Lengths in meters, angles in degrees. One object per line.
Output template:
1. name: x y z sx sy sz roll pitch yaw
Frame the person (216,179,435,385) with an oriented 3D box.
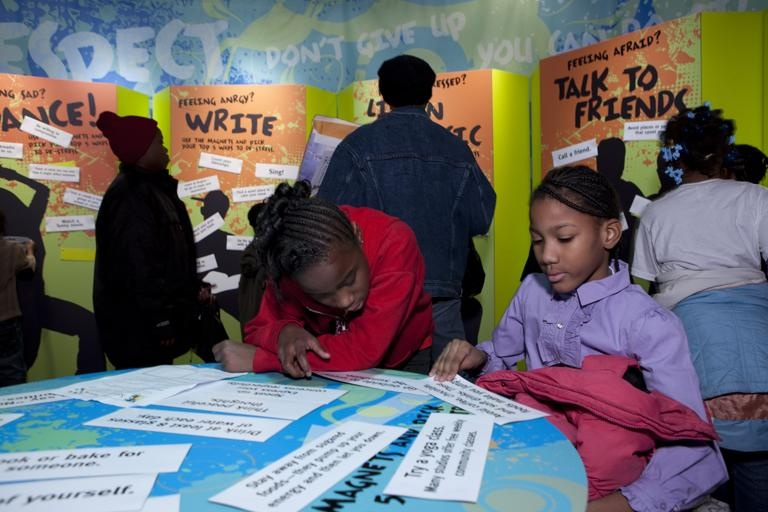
1. person: -0.230 0.124 2.051 0.840 0.812 0.462 -2 8 1

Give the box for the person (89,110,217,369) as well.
1. person: -1.470 -0.106 3.310 0.617 1.587 0.795 -4 8 -16

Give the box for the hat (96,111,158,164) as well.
1. hat: -1.705 -0.750 3.557 0.454 0.321 0.326 16 12 14
